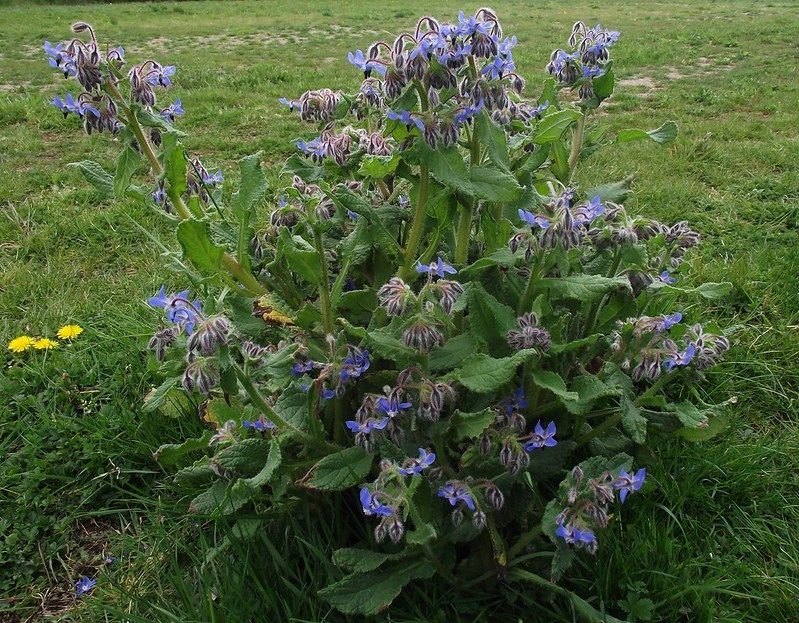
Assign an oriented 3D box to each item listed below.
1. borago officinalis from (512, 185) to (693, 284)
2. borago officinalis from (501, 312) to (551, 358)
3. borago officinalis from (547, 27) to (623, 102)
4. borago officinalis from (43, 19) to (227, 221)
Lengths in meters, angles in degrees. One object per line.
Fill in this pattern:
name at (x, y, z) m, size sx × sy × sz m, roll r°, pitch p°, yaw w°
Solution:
borago officinalis at (0.803, -0.298, 3.172) m, size 0.593 × 0.176 × 0.504 m, roll 3°, pitch 30°, yaw -21°
borago officinalis at (0.498, 0.094, 3.071) m, size 0.143 × 0.094 × 0.164 m, roll -20°, pitch 39°, yaw -5°
borago officinalis at (0.816, -1.097, 3.569) m, size 0.278 × 0.365 × 0.307 m, roll 8°, pitch 36°, yaw 17°
borago officinalis at (-1.059, -0.714, 3.294) m, size 0.605 × 1.007 × 0.615 m, roll -18°, pitch 36°, yaw -20°
